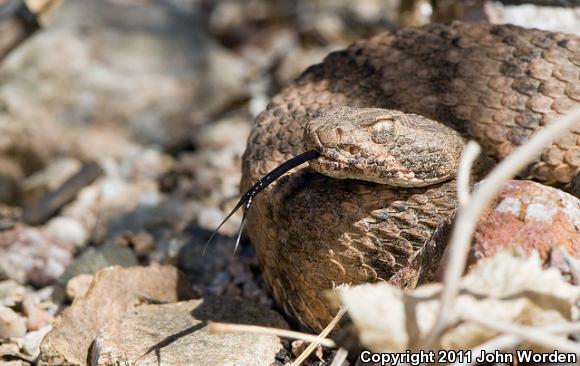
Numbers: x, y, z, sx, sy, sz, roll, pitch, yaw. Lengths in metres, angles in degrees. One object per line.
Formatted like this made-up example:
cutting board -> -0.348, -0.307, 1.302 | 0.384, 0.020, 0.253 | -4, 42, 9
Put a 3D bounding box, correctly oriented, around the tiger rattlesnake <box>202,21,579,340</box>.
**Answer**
tiger rattlesnake -> 0.531, -0.221, 3.043 | 1.485, 0.501, 1.202 | -40, 49, -24
